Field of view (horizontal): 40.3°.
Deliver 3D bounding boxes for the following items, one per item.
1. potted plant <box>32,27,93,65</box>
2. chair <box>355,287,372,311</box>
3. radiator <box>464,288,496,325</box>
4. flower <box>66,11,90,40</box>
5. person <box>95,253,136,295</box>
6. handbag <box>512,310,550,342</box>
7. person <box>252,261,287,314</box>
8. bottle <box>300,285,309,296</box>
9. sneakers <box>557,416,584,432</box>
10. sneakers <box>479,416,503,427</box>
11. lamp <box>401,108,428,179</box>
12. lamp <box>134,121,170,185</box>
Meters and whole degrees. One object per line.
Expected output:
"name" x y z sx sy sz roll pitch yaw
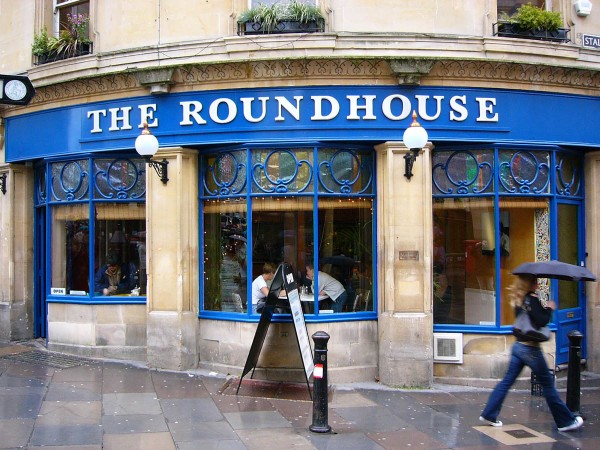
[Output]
"potted plant" -5.186 -3.892 17.838 1.686 0.835 0.349 9 16 30
"chair" 1.264 1.513 16.431 0.343 0.504 0.312 4 -8 -1
"radiator" 3.621 1.658 16.509 0.679 0.856 0.080 0 -9 11
"flower" -4.813 -4.307 17.789 0.413 0.593 0.761 12 16 -29
"person" -4.043 1.197 17.798 0.900 1.181 0.624 -1 5 -20
"handbag" 3.867 1.677 13.724 0.429 0.474 0.220 10 -22 -25
"person" -0.631 1.312 16.474 0.576 1.113 0.554 12 3 8
"bottle" 0.095 1.293 16.283 0.121 0.193 0.184 -1 -8 7
"sneakers" 4.600 3.370 13.944 0.443 0.202 0.196 -18 4 -15
"sneakers" 3.279 3.385 14.038 0.422 0.181 0.160 3 6 4
"lamp" 2.183 -1.483 15.669 0.430 1.338 0.762 3 14 8
"lamp" -2.913 -1.391 16.248 0.528 1.279 0.992 0 14 -3
